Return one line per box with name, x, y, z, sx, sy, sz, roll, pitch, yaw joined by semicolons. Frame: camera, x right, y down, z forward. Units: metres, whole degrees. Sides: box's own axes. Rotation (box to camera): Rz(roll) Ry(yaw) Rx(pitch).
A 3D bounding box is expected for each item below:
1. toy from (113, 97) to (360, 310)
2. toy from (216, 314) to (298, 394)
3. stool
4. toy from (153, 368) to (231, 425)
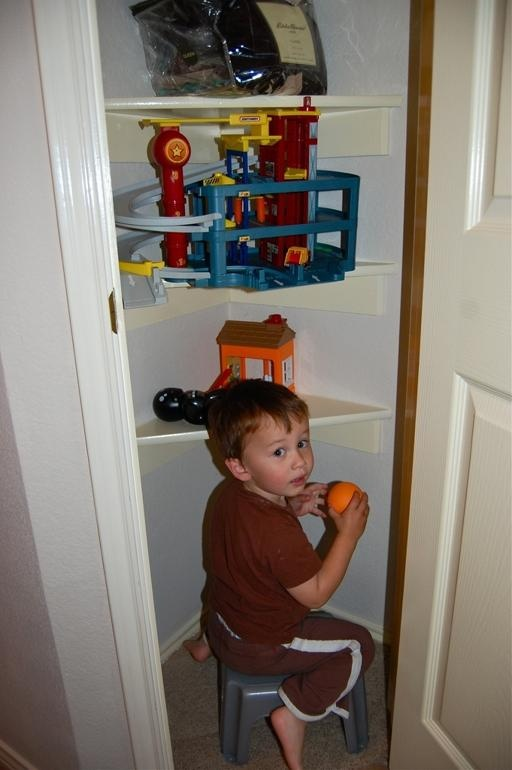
toy;-0.059;-0.390;1.220;0.475;0.372;0.352;-15;28;-30
toy;0.005;-0.073;1.412;0.143;0.193;0.111;12;28;29
stool;0.077;0.649;1.246;0.238;0.169;0.243;-1;-1;7
toy;-0.148;0.028;1.351;0.189;0.081;0.093;-11;-12;37
